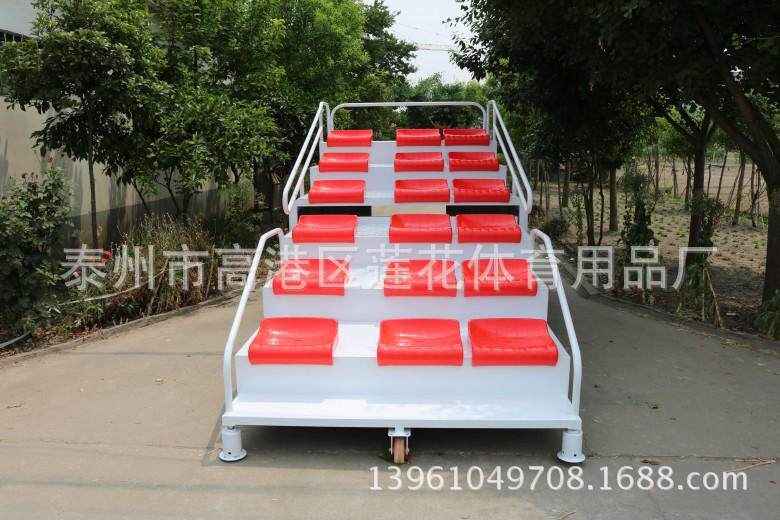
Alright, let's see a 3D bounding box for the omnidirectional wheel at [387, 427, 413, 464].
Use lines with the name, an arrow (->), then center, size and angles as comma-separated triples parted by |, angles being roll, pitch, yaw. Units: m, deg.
omnidirectional wheel -> 0.078, 1.841, 6.427 | 0.307, 0.375, 0.316 | 0, 0, 0
